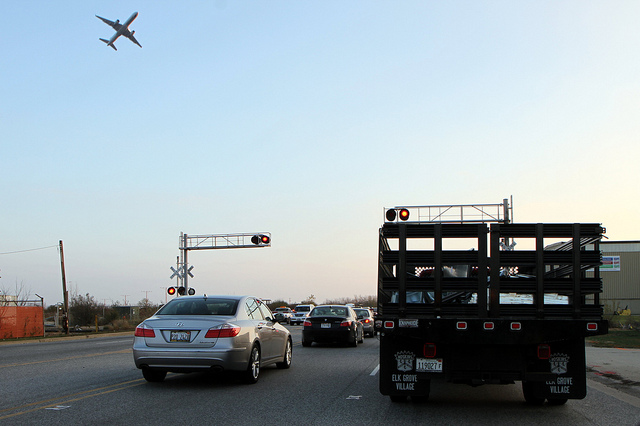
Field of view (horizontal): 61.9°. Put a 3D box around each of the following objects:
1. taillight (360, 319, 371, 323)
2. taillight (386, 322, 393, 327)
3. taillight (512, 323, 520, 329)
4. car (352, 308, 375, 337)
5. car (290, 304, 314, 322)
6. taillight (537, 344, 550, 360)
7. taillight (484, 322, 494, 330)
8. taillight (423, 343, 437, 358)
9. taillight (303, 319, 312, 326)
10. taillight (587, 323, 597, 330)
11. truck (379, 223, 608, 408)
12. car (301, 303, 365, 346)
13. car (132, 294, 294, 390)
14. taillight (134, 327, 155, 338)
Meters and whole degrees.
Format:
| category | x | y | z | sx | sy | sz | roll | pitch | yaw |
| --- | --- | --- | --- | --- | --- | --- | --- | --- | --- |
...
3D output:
| category | x | y | z | sx | sy | sz | roll | pitch | yaw |
| --- | --- | --- | --- | --- | --- | --- | --- | --- | --- |
| taillight | 2.502 | 5.990 | 29.082 | 0.381 | 0.109 | 0.390 | -1 | -4 | 21 |
| taillight | 1.293 | 2.089 | 9.924 | 0.121 | 0.082 | 0.022 | -7 | -12 | 26 |
| taillight | 3.543 | 2.077 | 9.723 | 0.102 | 0.100 | 0.025 | -2 | 1 | 17 |
| car | 2.470 | 6.146 | 29.295 | 1.214 | 1.067 | 2.909 | 0 | -1 | 8 |
| car | -1.837 | 9.726 | 51.956 | 1.733 | 1.503 | 3.072 | -2 | -13 | 8 |
| taillight | 4.151 | 2.608 | 9.962 | 0.265 | 0.387 | 0.048 | 2 | 4 | 9 |
| taillight | 3.068 | 2.083 | 9.752 | 0.132 | 0.131 | 0.125 | 0 | -2 | 3 |
| taillight | 2.096 | 2.636 | 10.166 | 0.272 | 0.326 | 0.166 | 0 | -3 | 3 |
| taillight | -0.475 | 4.786 | 22.993 | 0.371 | 0.244 | 0.149 | -5 | -12 | 20 |
| taillight | 4.879 | 2.079 | 9.652 | 0.115 | 0.131 | 0.087 | -2 | -4 | 2 |
| truck | 3.757 | 2.777 | 12.530 | 3.820 | 3.071 | 6.228 | -2 | -20 | 14 |
| car | 0.492 | 4.988 | 23.558 | 2.416 | 1.767 | 1.857 | -1 | -11 | 0 |
| car | -2.349 | 3.159 | 13.349 | 2.007 | 2.180 | 3.821 | -10 | -14 | 38 |
| taillight | -3.989 | 2.824 | 12.446 | 0.552 | 0.218 | 0.046 | -8 | -12 | 29 |
